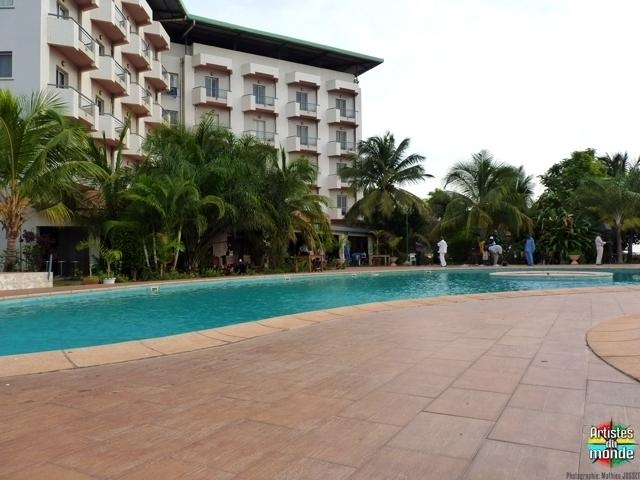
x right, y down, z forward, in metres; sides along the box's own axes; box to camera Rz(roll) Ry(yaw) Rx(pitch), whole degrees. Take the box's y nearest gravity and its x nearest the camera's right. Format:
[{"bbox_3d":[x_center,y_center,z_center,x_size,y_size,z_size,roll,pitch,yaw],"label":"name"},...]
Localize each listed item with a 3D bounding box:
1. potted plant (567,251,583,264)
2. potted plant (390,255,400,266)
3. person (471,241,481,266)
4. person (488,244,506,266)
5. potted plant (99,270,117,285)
[{"bbox_3d":[16.704,1.141,28.619,0.824,0.869,0.853,0,-8,3],"label":"potted plant"},{"bbox_3d":[5.245,1.455,30.279,0.599,0.529,0.644,-2,-1,-3],"label":"potted plant"},{"bbox_3d":[11.195,0.897,31.208,0.616,1.601,3.738,-1,-1,19],"label":"person"},{"bbox_3d":[11.952,1.000,29.386,0.876,1.392,3.143,-1,-1,23],"label":"person"},{"bbox_3d":[-7.939,1.418,16.349,0.636,0.671,0.663,0,-10,-1],"label":"potted plant"}]
